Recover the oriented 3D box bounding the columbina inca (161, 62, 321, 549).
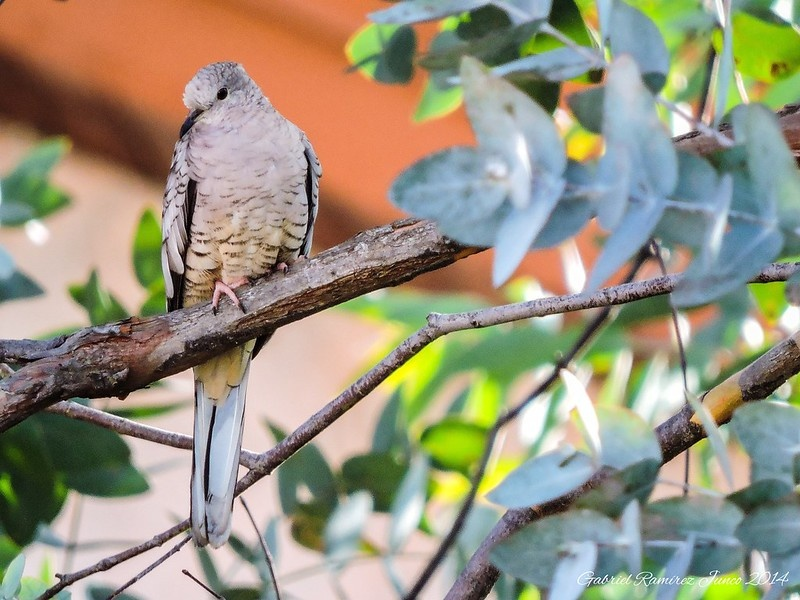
[{"bbox_3d":[-0.498,0.062,2.982,0.423,0.631,1.389,10,-78,-7],"label":"columbina inca"}]
